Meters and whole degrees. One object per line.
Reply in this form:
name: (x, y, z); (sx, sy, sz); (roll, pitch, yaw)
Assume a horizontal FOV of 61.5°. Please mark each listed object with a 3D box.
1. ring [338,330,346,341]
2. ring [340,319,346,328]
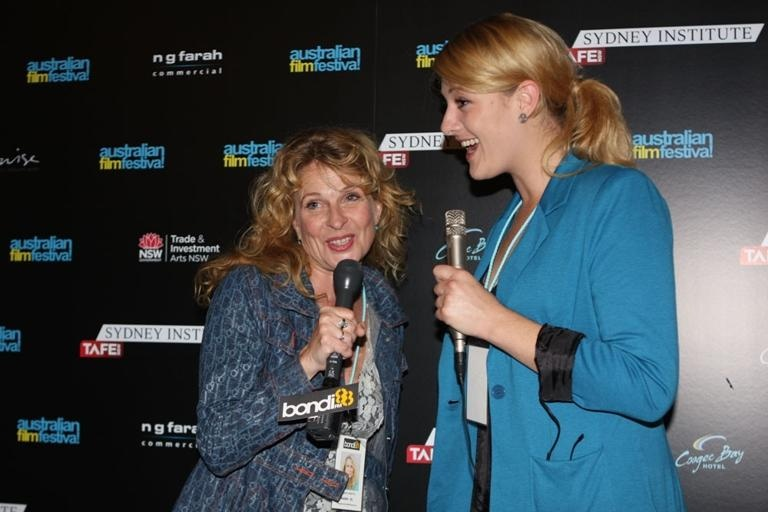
ring: (-0.214, 0.396, 3.253); (0.036, 0.050, 0.015); (0, -6, -16)
ring: (-0.211, 0.337, 3.271); (0.024, 0.033, 0.026); (1, 48, -1)
